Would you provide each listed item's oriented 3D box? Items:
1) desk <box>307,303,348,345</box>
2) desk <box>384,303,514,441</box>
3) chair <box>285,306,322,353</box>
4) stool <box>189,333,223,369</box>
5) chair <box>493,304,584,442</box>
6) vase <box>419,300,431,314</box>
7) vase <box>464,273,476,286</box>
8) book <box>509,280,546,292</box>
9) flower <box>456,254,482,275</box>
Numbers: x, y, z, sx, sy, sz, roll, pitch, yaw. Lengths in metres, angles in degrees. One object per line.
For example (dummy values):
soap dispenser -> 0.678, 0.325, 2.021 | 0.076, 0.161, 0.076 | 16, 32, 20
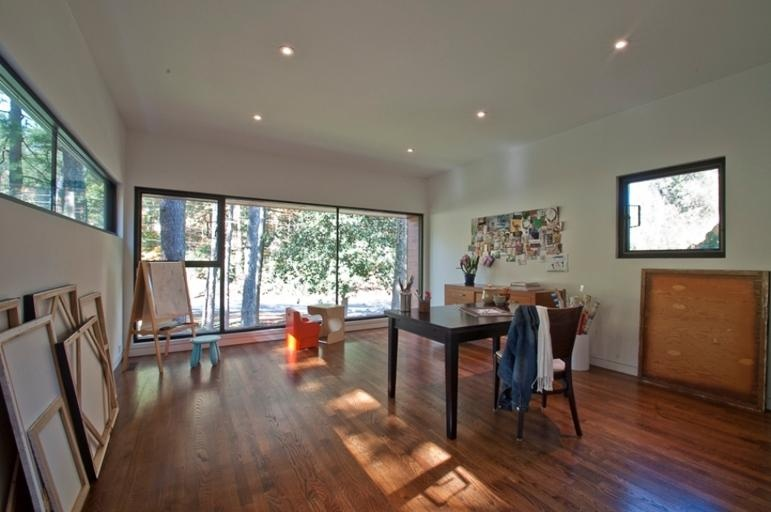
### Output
desk -> -0.804, 0.957, 7.185 | 0.485, 0.660, 0.657 | 3, -5, -41
desk -> 0.646, 0.891, 4.906 | 1.046, 0.921, 1.443 | -1, 1, -26
chair -> -1.057, 1.022, 6.770 | 0.521, 0.706, 0.499 | 0, 0, -36
stool -> -2.262, 1.186, 6.086 | 0.380, 0.341, 0.379 | 4, -7, -29
chair -> 1.483, 1.072, 4.642 | 0.801, 1.227, 0.657 | 2, 0, 0
vase -> 0.404, 0.515, 5.039 | 0.116, 0.116, 0.104 | -4, -8, 25
vase -> 1.267, 0.364, 7.333 | 0.169, 0.171, 0.167 | -1, 0, -3
book -> 1.884, 0.406, 6.466 | 0.417, 0.128, 0.436 | 1, -2, 39
flower -> 1.281, 0.118, 7.461 | 0.287, 0.297, 0.251 | 0, -3, -22
